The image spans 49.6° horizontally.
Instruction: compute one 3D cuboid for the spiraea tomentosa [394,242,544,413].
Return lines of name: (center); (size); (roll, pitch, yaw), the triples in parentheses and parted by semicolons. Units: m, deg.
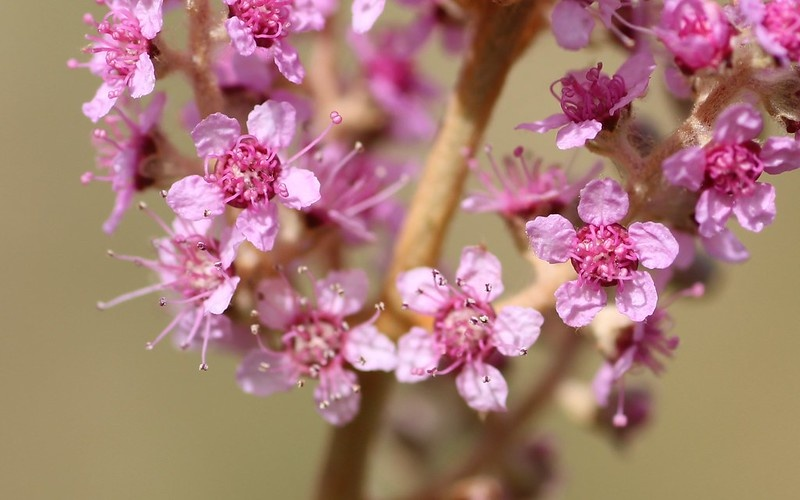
spiraea tomentosa: (0.237, 0.264, 3.017); (0.503, 0.498, 0.300); (4, 29, 8)
